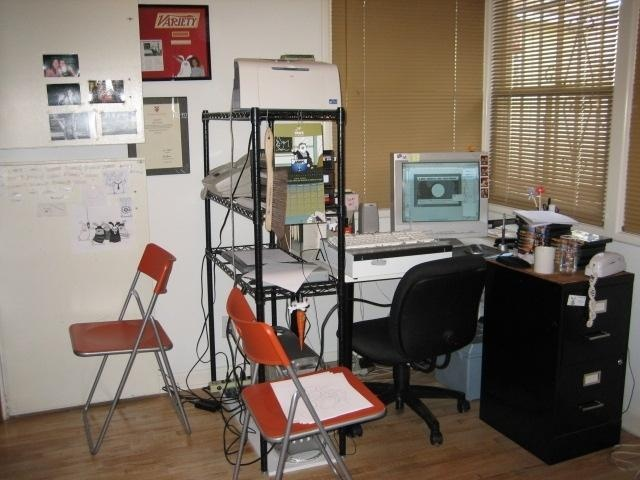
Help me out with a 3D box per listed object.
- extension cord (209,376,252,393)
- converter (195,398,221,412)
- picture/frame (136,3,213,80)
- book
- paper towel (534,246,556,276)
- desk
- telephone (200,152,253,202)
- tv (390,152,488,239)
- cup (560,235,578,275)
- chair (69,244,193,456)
[{"bbox_3d":[-0.634,1.013,3.757,0.218,0.059,0.158,-1,2,-22],"label":"extension cord"},{"bbox_3d":[-0.760,1.091,3.620,0.135,0.059,0.079,6,10,11],"label":"converter"},{"bbox_3d":[-0.985,-1.320,3.537,0.513,0.505,0.054,-1,11,-12],"label":"picture/frame"},{"bbox_3d":[1.422,-0.023,3.173,0.330,0.301,0.458,-2,5,-19],"label":"book"},{"bbox_3d":[1.280,0.109,3.063,0.114,0.153,0.097,2,13,17],"label":"paper towel"},{"bbox_3d":[0.589,0.450,3.731,1.215,1.200,0.966,-2,11,-14],"label":"desk"},{"bbox_3d":[-0.578,-0.352,3.262,0.363,0.134,0.263,-7,18,33],"label":"telephone"},{"bbox_3d":[0.742,-0.286,3.875,0.859,0.760,0.504,1,3,-7],"label":"tv"},{"bbox_3d":[1.397,0.083,3.036,0.085,0.189,0.096,-12,15,-38],"label":"cup"},{"bbox_3d":[-1.230,0.620,3.419,0.666,1.145,0.656,-7,13,-22],"label":"chair"}]
